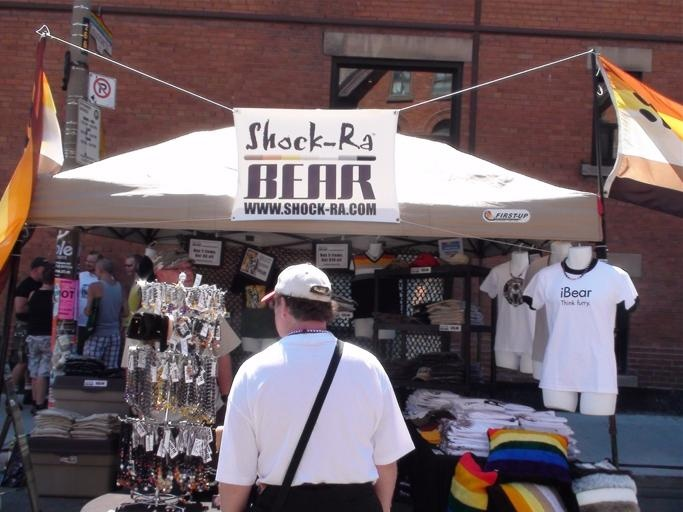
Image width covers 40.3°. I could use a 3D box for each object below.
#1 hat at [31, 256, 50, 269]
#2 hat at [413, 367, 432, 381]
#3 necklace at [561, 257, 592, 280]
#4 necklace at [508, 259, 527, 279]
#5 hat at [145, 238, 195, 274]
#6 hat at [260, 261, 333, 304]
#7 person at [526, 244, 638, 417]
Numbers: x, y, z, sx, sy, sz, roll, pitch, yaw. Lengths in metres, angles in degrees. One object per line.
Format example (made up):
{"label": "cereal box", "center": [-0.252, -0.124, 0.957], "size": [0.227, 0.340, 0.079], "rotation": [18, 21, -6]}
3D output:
{"label": "hat", "center": [-4.225, 0.095, 13.083], "size": [0.233, 0.127, 0.167], "rotation": [-16, 3, -6]}
{"label": "hat", "center": [0.889, 1.292, 10.225], "size": [0.111, 0.082, 0.170], "rotation": [-7, 5, 26]}
{"label": "necklace", "center": [2.387, 0.131, 9.577], "size": [0.196, 0.224, 0.082], "rotation": [5, -4, 26]}
{"label": "necklace", "center": [2.032, 0.146, 10.615], "size": [0.123, 0.204, 0.292], "rotation": [10, -12, -35]}
{"label": "hat", "center": [-1.697, 0.084, 9.405], "size": [0.393, 0.375, 0.289], "rotation": [-9, -2, -3]}
{"label": "hat", "center": [-0.400, 0.237, 7.934], "size": [0.615, 0.315, 0.450], "rotation": [-1, -14, 37]}
{"label": "person", "center": [2.440, 0.749, 9.571], "size": [1.072, 1.700, 0.363], "rotation": [0, -10, 14]}
